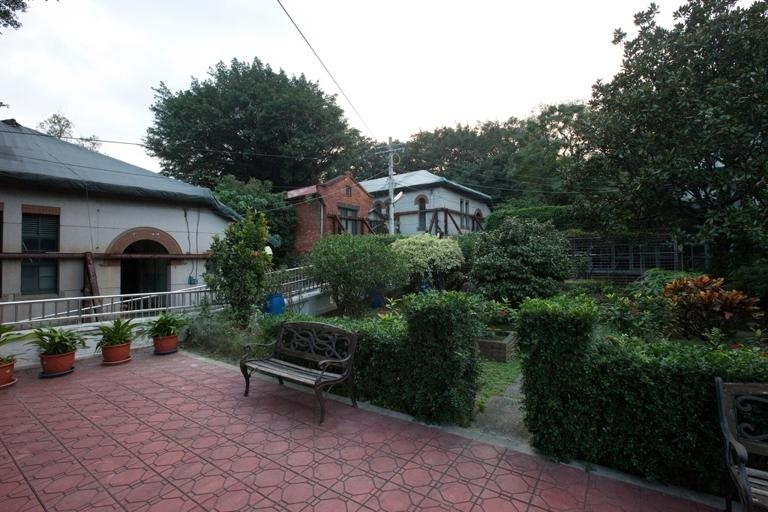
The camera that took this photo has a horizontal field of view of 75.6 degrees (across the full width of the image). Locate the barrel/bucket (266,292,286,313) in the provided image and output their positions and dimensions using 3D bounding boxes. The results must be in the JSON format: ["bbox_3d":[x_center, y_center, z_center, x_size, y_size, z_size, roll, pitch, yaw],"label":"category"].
[{"bbox_3d":[-3.489,1.585,16.341,0.825,0.702,0.787,0,-5,0],"label":"barrel/bucket"}]

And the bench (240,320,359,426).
[{"bbox_3d":[-1.643,2.307,10.164,2.295,1.850,1.093,-2,-1,28],"label":"bench"}]
